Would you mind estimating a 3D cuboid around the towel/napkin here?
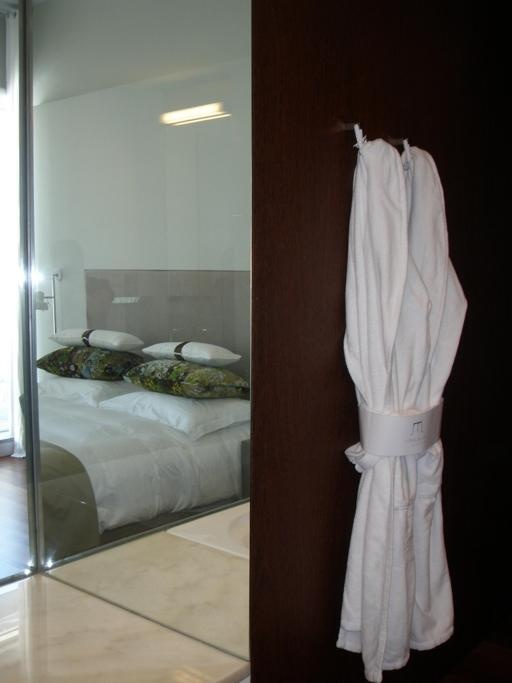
[{"bbox_3d":[0.324,0.212,1.371,0.257,1.419,0.427,6,12,35],"label":"towel/napkin"}]
